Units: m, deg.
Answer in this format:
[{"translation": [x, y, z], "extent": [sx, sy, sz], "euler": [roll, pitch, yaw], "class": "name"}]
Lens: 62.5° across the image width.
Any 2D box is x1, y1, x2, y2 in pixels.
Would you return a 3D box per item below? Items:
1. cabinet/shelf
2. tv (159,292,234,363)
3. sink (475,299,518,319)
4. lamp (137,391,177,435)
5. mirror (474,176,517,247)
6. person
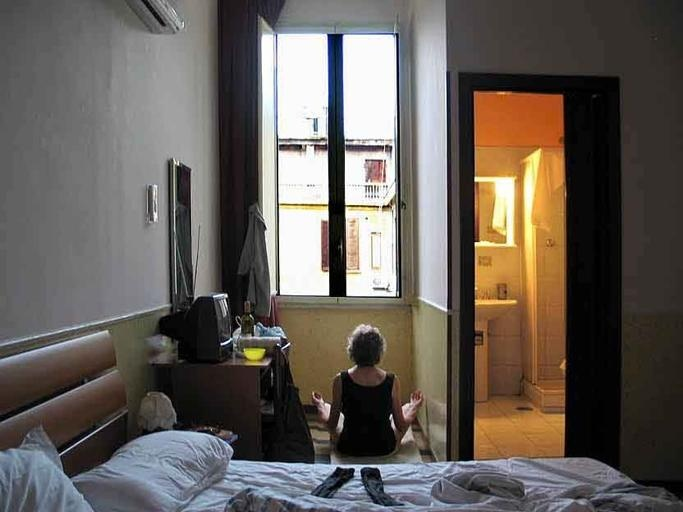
[{"translation": [-0.796, 0.828, 3.822], "extent": [0.543, 0.828, 0.772], "euler": [-1, -1, 5], "class": "cabinet/shelf"}, {"translation": [-0.931, 0.430, 3.600], "extent": [0.362, 0.384, 0.398], "euler": [0, 2, -2], "class": "tv"}, {"translation": [1.359, 0.474, 5.004], "extent": [0.256, 0.105, 0.254], "euler": [-3, -1, -3], "class": "sink"}, {"translation": [-1.028, 0.881, 3.131], "extent": [0.199, 0.216, 0.199], "euler": [4, -7, -43], "class": "lamp"}, {"translation": [1.484, -0.428, 5.408], "extent": [0.375, 0.645, 0.138], "euler": [1, 4, 16], "class": "mirror"}, {"translation": [0.180, 0.905, 3.975], "extent": [0.683, 0.885, 1.047], "euler": [1, -6, 0], "class": "person"}]
